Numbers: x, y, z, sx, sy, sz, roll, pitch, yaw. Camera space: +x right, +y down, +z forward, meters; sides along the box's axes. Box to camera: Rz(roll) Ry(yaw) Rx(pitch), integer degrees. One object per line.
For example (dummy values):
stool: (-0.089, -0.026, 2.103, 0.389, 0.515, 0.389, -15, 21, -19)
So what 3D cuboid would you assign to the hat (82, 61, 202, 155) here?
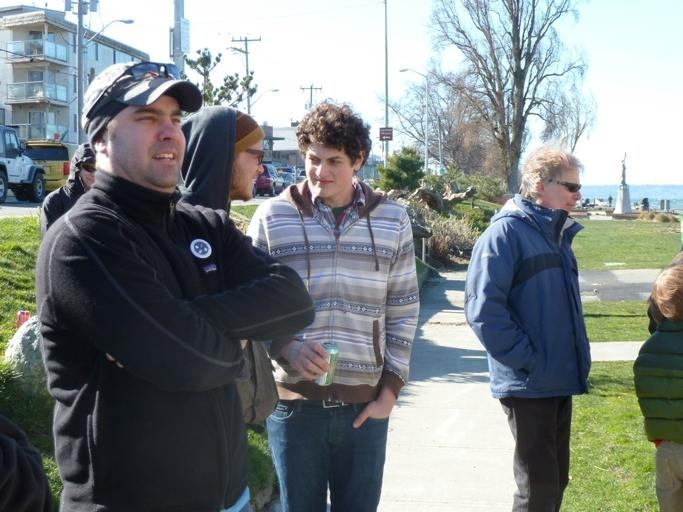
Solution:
hat: (-0.824, -0.532, 2.825, 0.548, 0.280, 0.706, -8, 2, -21)
